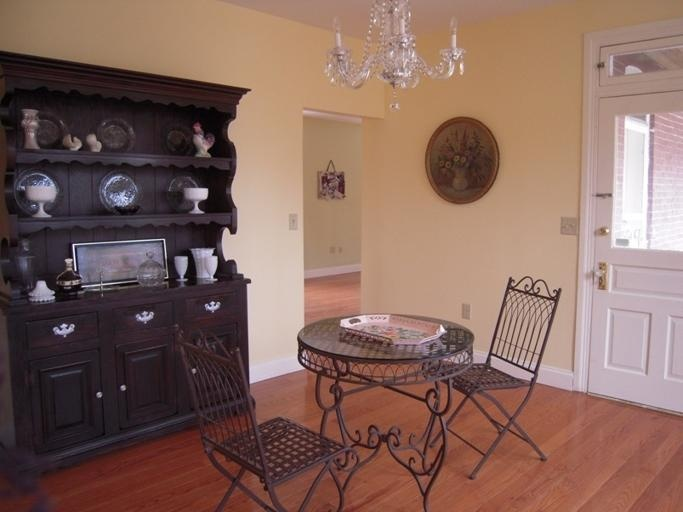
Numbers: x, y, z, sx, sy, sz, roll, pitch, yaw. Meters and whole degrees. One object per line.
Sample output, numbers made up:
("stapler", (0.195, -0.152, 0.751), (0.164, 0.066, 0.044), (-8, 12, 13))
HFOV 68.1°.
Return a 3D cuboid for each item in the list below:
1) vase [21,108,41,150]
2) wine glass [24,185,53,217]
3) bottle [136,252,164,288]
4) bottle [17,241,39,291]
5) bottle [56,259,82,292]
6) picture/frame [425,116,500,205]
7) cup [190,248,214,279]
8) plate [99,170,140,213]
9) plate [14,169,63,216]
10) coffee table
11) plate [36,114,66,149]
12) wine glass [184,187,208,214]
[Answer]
("vase", (-2.039, -0.822, 3.302), (0.096, 0.254, 0.118), (-6, 6, -33))
("wine glass", (-1.951, -0.345, 3.293), (0.194, 0.240, 0.196), (-2, 7, -32))
("bottle", (-1.437, 0.103, 3.755), (0.197, 0.300, 0.202), (0, 7, 0))
("bottle", (-2.083, 0.063, 3.330), (0.103, 0.335, 0.297), (-5, 6, -29))
("bottle", (-1.855, 0.138, 3.423), (0.137, 0.218, 0.094), (-6, 6, -33))
("picture/frame", (1.197, -0.918, 4.874), (0.823, 1.008, 0.120), (1, 2, 44))
("cup", (-1.104, 0.061, 3.966), (0.202, 0.220, 0.201), (0, 3, 0))
("plate", (-1.639, -0.458, 3.712), (0.276, 0.301, 0.073), (-3, 5, -42))
("plate", (-2.035, -0.453, 3.405), (0.299, 0.353, 0.284), (-8, 16, -38))
("coffee table", (0.246, 0.777, 3.248), (1.072, 1.241, 1.085), (-5, 10, -31))
("plate", (-2.000, -0.853, 3.470), (0.043, 0.211, 0.195), (9, 14, 40))
("wine glass", (-1.133, -0.446, 4.002), (0.200, 0.240, 0.205), (-6, 10, -23))
